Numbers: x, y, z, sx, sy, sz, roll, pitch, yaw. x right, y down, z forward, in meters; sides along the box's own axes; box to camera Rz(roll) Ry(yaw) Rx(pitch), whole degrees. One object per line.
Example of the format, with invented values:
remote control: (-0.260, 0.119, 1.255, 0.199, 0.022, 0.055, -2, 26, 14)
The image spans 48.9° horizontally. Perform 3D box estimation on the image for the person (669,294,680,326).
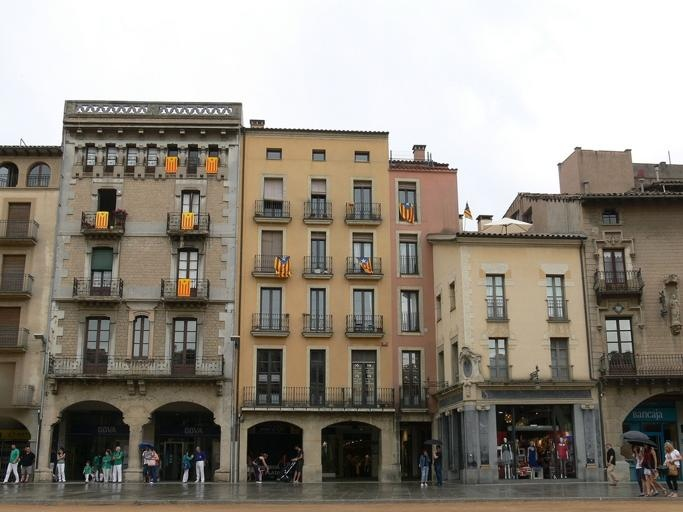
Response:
person: (19.366, 3.084, 43.649, 0.636, 1.785, 0.410, 3, -22, -6)

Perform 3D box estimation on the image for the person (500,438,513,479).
person: (9.035, 11.050, 41.106, 0.742, 2.115, 0.415, 6, -23, -16)

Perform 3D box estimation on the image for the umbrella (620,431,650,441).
umbrella: (13.552, 8.389, 34.754, 1.012, 0.362, 1.007, 17, -22, -26)

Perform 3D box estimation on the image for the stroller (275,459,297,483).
stroller: (-3.282, 13.234, 46.026, 0.624, 1.747, 1.216, 27, -18, -23)

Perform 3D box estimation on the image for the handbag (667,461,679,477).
handbag: (14.711, 9.502, 33.475, 0.403, 0.588, 0.535, -5, -23, 13)
